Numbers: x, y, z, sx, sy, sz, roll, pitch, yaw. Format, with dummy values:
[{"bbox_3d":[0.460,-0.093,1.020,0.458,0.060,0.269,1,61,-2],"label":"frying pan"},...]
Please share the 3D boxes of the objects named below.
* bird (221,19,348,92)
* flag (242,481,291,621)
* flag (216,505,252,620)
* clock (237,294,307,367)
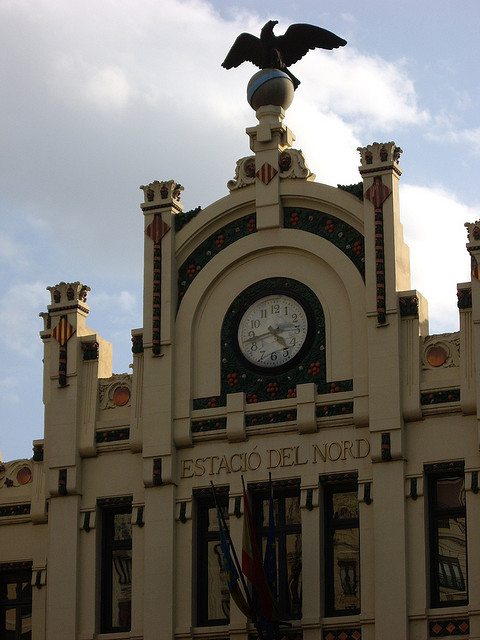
[{"bbox_3d":[0.795,-5.418,36.905,2.335,1.079,0.659,-5,-13,18],"label":"bird"},{"bbox_3d":[0.354,4.012,31.851,0.625,2.492,1.167,-1,-11,1],"label":"flag"},{"bbox_3d":[-0.119,4.292,31.583,0.334,1.990,0.311,-5,-19,-5],"label":"flag"},{"bbox_3d":[0.577,0.241,34.185,1.430,1.445,0.490,-10,-15,37],"label":"clock"}]
